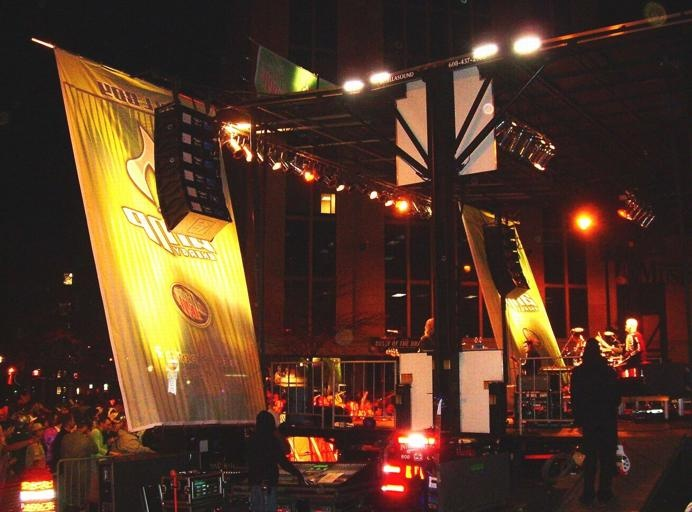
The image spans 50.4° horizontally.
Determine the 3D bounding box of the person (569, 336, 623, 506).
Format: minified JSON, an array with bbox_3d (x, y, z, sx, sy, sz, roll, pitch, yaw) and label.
[{"bbox_3d":[4.915,3.198,14.457,1.004,3.145,0.321,-11,-14,19],"label":"person"}]
